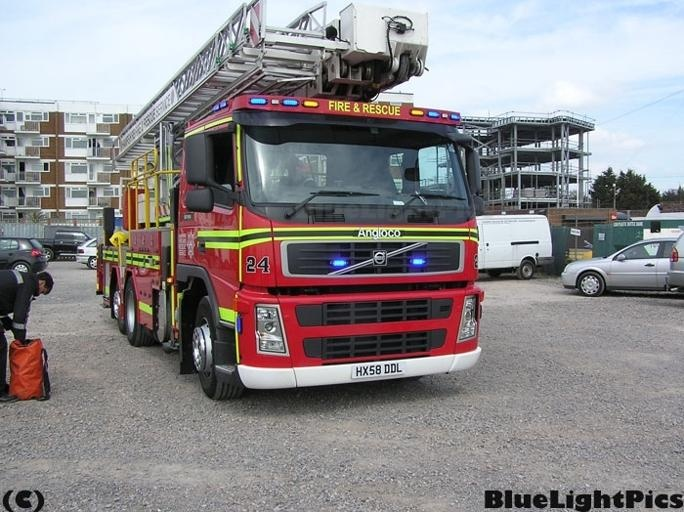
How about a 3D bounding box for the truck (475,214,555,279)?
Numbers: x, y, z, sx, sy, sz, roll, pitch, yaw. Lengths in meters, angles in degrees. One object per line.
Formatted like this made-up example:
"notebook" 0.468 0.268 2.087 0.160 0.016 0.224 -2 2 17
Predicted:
"truck" 6.603 -0.522 23.441 5.496 2.766 2.954 -1 6 -26
